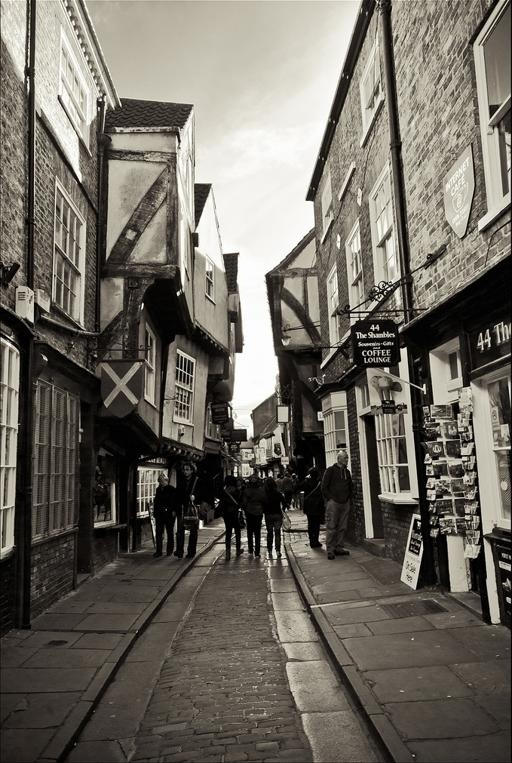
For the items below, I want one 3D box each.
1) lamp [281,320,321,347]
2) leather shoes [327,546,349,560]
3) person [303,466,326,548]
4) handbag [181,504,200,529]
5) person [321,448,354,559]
[{"bbox_3d":[1.478,-1.497,20.072,1.013,0.995,0.703,1,-17,0],"label":"lamp"},{"bbox_3d":[1.425,3.015,10.238,0.442,0.280,0.164,-4,1,-31],"label":"leather shoes"},{"bbox_3d":[1.284,2.577,12.782,0.379,0.501,1.973,4,-57,11],"label":"person"},{"bbox_3d":[-1.248,2.557,11.256,0.309,0.467,0.265,-1,-7,-6],"label":"handbag"},{"bbox_3d":[1.410,2.145,10.266,0.497,1.826,0.629,-2,-6,4],"label":"person"}]
